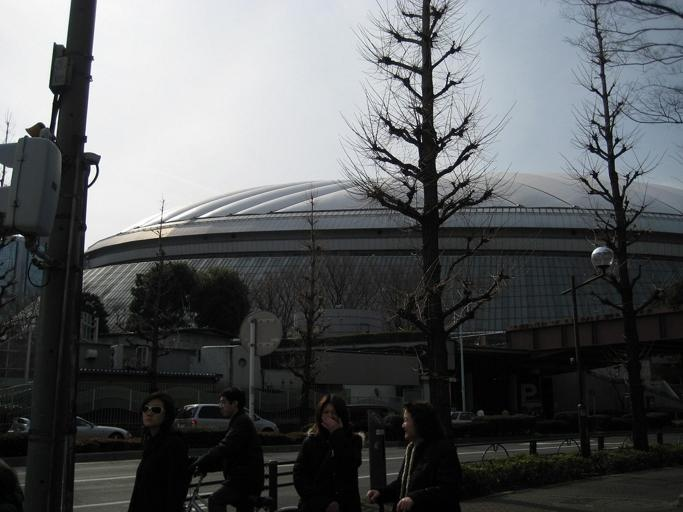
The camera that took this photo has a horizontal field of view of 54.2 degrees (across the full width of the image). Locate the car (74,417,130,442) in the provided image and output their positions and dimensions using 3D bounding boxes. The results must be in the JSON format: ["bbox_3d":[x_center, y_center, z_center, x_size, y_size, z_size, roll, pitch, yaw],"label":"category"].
[{"bbox_3d":[-9.966,7.216,28.050,2.116,0.854,2.501,3,-15,-21],"label":"car"}]
